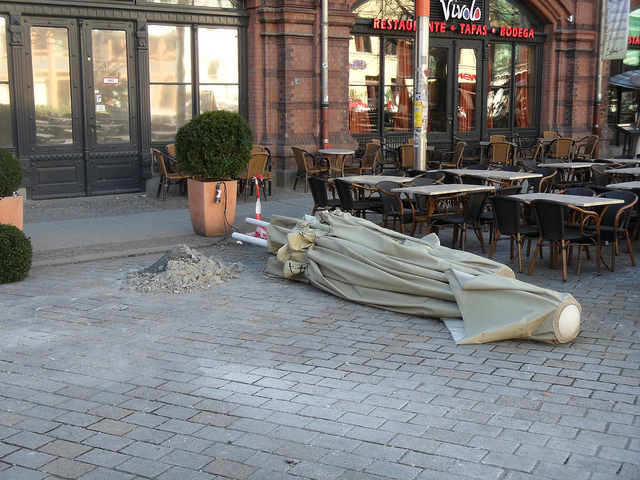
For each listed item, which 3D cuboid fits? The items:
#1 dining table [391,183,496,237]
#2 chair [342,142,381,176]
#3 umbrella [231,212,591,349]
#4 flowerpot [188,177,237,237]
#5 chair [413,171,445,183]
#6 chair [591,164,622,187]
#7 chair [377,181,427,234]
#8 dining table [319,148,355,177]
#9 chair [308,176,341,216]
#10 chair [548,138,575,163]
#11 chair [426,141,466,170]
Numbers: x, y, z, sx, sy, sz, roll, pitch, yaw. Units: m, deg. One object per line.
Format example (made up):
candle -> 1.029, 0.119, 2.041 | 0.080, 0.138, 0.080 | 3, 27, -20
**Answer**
dining table -> 2.120, -0.504, 9.414 | 0.976, 0.602, 1.649 | -14, -5, 37
chair -> 1.121, -2.274, 14.952 | 1.174, 1.061, 0.930 | -2, 15, -9
umbrella -> 1.193, 0.353, 6.101 | 5.059, 0.633, 1.426 | 8, 4, 41
flowerpot -> -2.033, -0.628, 9.782 | 0.898, 1.122, 0.479 | -4, 11, -9
chair -> 2.326, -1.343, 10.706 | 0.555, 0.154, 0.398 | -2, 11, 7
chair -> 6.302, -1.462, 11.397 | 0.412, 0.463, 0.973 | 3, 9, 28
chair -> 1.510, -0.588, 9.561 | 0.825, 1.030, 0.936 | -1, 9, 9
dining table -> 0.471, -2.283, 14.676 | 1.320, 0.672, 1.072 | 0, 12, -1
chair -> 0.191, -0.808, 10.090 | 0.890, 0.707, 0.711 | -1, 11, -6
chair -> 8.275, -3.088, 17.292 | 0.508, 0.751, 0.728 | 1, 10, 22
chair -> 4.094, -2.576, 16.433 | 1.087, 1.020, 0.875 | -5, 23, 2
